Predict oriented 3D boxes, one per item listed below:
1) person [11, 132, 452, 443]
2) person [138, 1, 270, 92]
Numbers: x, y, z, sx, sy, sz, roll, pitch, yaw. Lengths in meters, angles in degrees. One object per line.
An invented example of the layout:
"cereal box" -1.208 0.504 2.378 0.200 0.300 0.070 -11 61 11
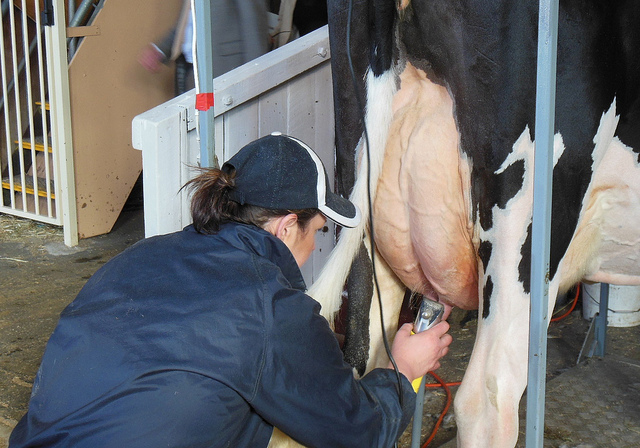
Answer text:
"person" -0.434 0.244 3.257 1.375 1.314 1.041 -13 25 -33
"person" -0.810 -1.254 5.677 0.768 0.642 0.934 9 8 38
